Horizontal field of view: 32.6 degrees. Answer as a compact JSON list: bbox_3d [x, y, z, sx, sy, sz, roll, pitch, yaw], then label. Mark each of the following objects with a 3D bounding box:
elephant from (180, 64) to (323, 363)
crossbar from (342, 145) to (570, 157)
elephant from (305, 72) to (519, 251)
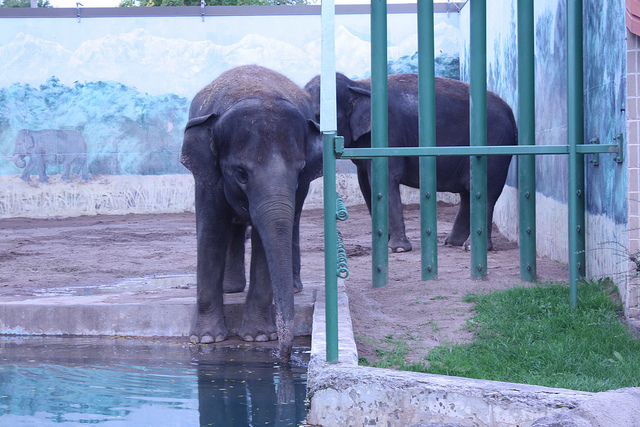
[{"bbox_3d":[-0.867,-0.129,13.796,1.694,3.379,4.389,0,9,-9],"label":"elephant"},{"bbox_3d":[1.474,-0.673,11.625,2.517,0.097,0.396,-2,-1,-10],"label":"crossbar"},{"bbox_3d":[1.672,-0.818,16.719,2.763,2.223,1.265,-2,-1,-14],"label":"elephant"}]
